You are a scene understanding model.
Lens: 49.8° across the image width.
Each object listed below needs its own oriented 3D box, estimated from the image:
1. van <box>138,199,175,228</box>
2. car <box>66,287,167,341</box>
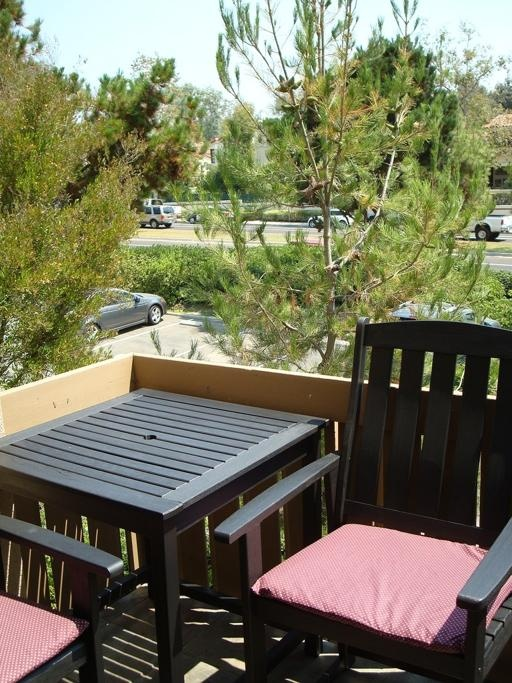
[{"bbox_3d":[-6.037,-7.894,33.936,2.052,1.786,0.978,-5,13,-5],"label":"van"},{"bbox_3d":[-3.152,-0.747,11.980,2.286,0.798,1.033,-26,25,-36],"label":"car"}]
